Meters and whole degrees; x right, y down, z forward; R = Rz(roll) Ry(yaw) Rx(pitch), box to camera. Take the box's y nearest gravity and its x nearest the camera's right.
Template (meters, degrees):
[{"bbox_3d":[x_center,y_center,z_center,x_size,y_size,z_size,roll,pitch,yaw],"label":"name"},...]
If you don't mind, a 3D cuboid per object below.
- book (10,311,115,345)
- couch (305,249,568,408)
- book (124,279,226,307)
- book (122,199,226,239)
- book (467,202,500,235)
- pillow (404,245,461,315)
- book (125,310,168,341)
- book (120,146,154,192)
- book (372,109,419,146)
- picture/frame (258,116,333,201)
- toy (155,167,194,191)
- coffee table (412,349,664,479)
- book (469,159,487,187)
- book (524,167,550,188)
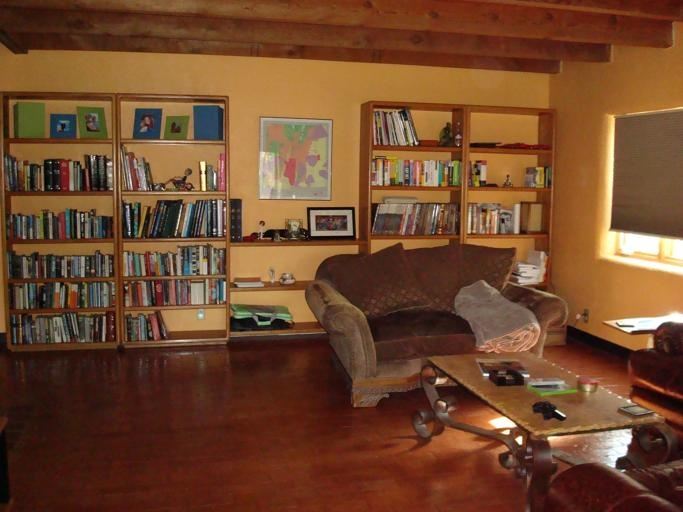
[{"bbox_3d":[-2.520,0.670,5.162,0.934,0.276,0.314,-1,5,-5],"label":"book"},{"bbox_3d":[0.719,0.491,4.651,1.961,0.975,1.032,-1,14,-13],"label":"couch"},{"bbox_3d":[-1.558,0.333,5.316,0.928,0.249,0.163,-1,13,-5],"label":"book"},{"bbox_3d":[-1.554,-0.343,5.270,0.930,0.353,0.138,-1,13,-8],"label":"book"},{"bbox_3d":[1.451,-0.377,5.790,0.363,0.307,0.187,0,4,-10],"label":"book"},{"bbox_3d":[0.800,0.211,4.904,0.510,0.472,0.146,1,-28,-2],"label":"pillow"},{"bbox_3d":[-1.819,0.662,5.340,0.385,0.336,0.270,-6,1,-16],"label":"book"},{"bbox_3d":[-1.873,-0.796,5.166,0.379,0.349,0.086,-4,2,-33],"label":"book"},{"bbox_3d":[0.505,-1.237,5.488,0.430,0.381,0.158,-4,7,-8],"label":"book"},{"bbox_3d":[-0.487,-0.994,5.634,0.920,0.872,0.034,1,4,-12],"label":"picture/frame"},{"bbox_3d":[-1.551,-0.722,5.346,0.364,0.207,0.230,-2,13,-9],"label":"toy"},{"bbox_3d":[1.202,1.064,3.512,1.340,0.539,0.942,7,13,-34],"label":"coffee table"},{"bbox_3d":[1.393,-0.839,5.783,0.165,0.258,0.281,-1,9,-5],"label":"book"},{"bbox_3d":[2.036,-0.808,5.844,0.252,0.224,0.143,1,0,45],"label":"book"}]
